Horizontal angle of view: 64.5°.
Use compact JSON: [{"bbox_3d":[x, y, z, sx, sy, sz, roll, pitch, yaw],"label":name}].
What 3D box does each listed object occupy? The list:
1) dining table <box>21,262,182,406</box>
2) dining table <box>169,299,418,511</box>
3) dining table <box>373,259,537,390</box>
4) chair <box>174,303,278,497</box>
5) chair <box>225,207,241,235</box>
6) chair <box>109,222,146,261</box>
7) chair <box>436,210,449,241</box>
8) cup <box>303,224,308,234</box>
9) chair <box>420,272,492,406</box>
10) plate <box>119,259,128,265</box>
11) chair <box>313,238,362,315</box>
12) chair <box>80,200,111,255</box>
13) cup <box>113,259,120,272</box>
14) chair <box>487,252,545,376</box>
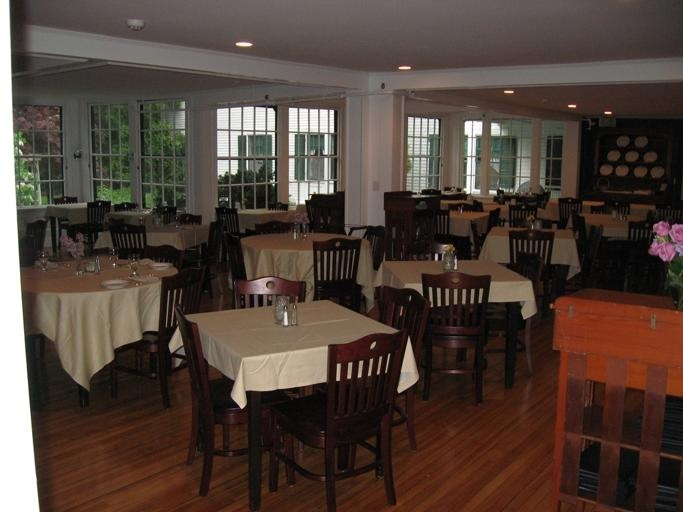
[{"bbox_3d":[-1.669,0.464,3.840,0.962,0.763,1.086,-6,10,-29],"label":"dining table"},{"bbox_3d":[-0.340,0.515,2.887,0.996,0.652,1.089,-1,3,-30],"label":"dining table"},{"bbox_3d":[0.923,0.501,4.288,1.028,0.656,1.034,-1,7,-5],"label":"dining table"},{"bbox_3d":[-0.630,0.739,2.896,0.430,0.957,0.548,-5,10,-26],"label":"chair"},{"bbox_3d":[-1.655,-0.521,8.207,0.261,0.406,0.334,-4,10,-22],"label":"chair"},{"bbox_3d":[-2.267,-0.149,5.684,0.327,0.617,0.366,0,17,-13],"label":"chair"},{"bbox_3d":[1.502,-0.466,7.964,0.197,0.445,0.322,1,9,10],"label":"chair"},{"bbox_3d":[-0.415,-0.309,6.085,0.048,0.058,0.203,20,-1,-2],"label":"cup"},{"bbox_3d":[0.852,0.568,4.001,0.484,0.953,0.600,1,1,11],"label":"chair"},{"bbox_3d":[-1.822,0.049,4.483,0.066,0.017,0.071,-4,8,-36],"label":"plate"},{"bbox_3d":[-0.081,0.242,5.308,0.502,0.944,0.564,0,12,-4],"label":"chair"},{"bbox_3d":[-3.437,-0.432,7.462,0.377,0.697,0.443,-3,2,-8],"label":"chair"},{"bbox_3d":[-1.851,0.077,4.397,0.068,0.072,0.072,3,19,-1],"label":"cup"},{"bbox_3d":[1.387,0.502,4.561,0.579,0.949,0.579,2,1,5],"label":"chair"}]
